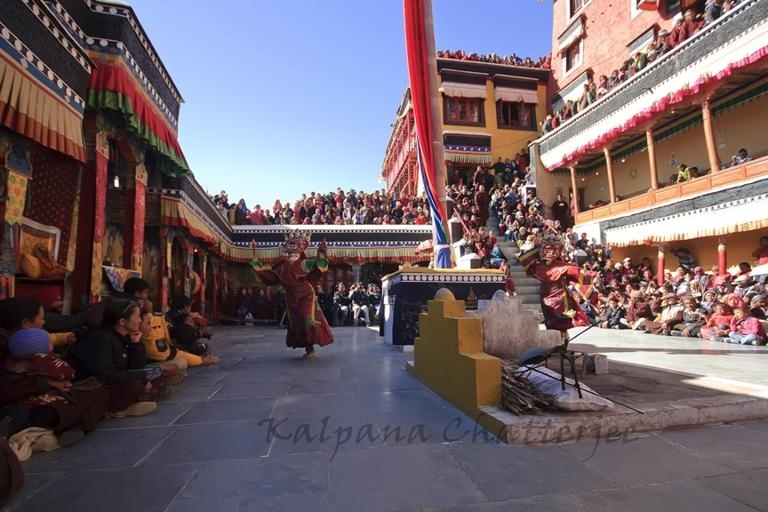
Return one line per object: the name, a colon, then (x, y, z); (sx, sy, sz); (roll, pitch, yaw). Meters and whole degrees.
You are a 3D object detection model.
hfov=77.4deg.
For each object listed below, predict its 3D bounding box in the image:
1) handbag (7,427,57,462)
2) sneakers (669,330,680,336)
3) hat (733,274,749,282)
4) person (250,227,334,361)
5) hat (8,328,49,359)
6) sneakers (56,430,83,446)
handbag: (-3.695, 1.942, 5.035); (0.128, 0.273, 0.316); (-49, -9, 19)
sneakers: (6.746, 1.767, 11.080); (0.170, 0.123, 0.175); (6, 16, 26)
hat: (8.421, 0.496, 11.195); (0.254, 0.084, 0.184); (5, -25, -24)
person: (-1.470, 0.807, 8.612); (1.325, 2.347, 0.844); (4, 15, 20)
hat: (-3.839, 0.941, 5.199); (0.355, 0.302, 0.324); (-7, -25, -31)
sneakers: (-3.415, 1.970, 5.203); (0.208, 0.139, 0.135); (-6, -17, 5)
